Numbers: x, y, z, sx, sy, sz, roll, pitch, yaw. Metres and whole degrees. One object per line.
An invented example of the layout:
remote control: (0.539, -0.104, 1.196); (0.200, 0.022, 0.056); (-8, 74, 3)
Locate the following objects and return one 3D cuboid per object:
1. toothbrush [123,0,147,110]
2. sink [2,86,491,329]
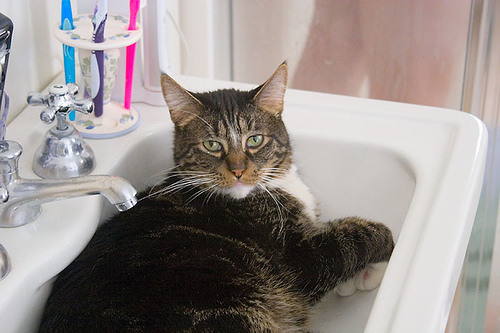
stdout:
toothbrush: (-0.286, -0.265, 1.146); (0.041, 0.329, 0.037); (9, 27, -1)
sink: (0.121, 0.031, 1.108); (0.613, 0.306, 0.766); (4, 39, 14)
